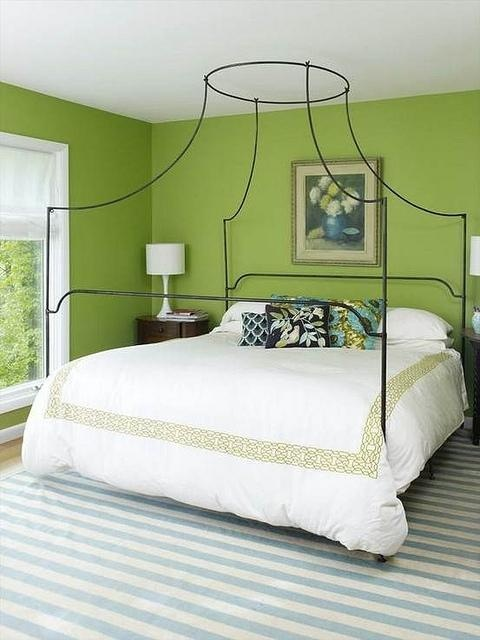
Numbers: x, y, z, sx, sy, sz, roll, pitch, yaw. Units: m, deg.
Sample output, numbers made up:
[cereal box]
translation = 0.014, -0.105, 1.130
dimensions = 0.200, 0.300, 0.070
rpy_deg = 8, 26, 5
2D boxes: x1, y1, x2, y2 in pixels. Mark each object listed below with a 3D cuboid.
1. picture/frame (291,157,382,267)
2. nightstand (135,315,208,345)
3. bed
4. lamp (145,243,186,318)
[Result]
[picture/frame]
translation = 0.769, -0.847, 4.062
dimensions = 0.885, 0.995, 0.073
rpy_deg = 2, 5, 28
[nightstand]
translation = -0.592, 0.074, 4.504
dimensions = 0.435, 0.401, 0.297
rpy_deg = 0, 2, 20
[bed]
translation = 0.315, 0.321, 2.521
dimensions = 1.083, 0.389, 1.100
rpy_deg = 4, 8, 28
[lamp]
translation = -0.653, -0.366, 4.691
dimensions = 0.362, 0.671, 0.402
rpy_deg = -1, 3, -10
